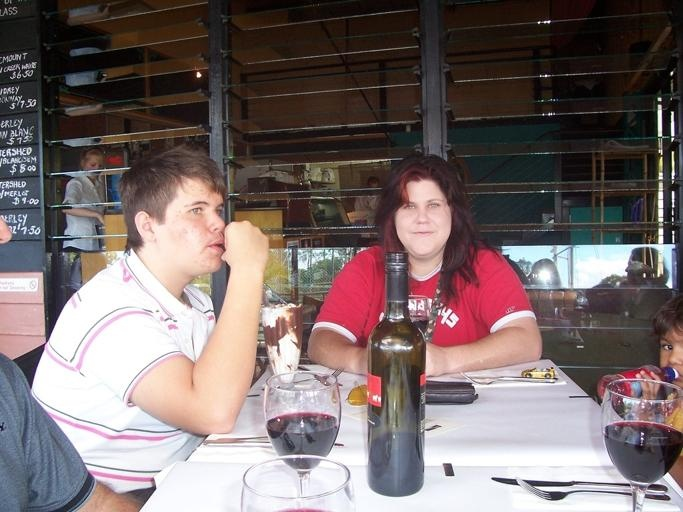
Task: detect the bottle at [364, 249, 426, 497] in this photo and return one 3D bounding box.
[{"bbox_3d":[0.113,0.241,1.203,0.118,0.494,0.089,0,1,8],"label":"bottle"}]

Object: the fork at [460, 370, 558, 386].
[{"bbox_3d":[0.523,0.364,1.699,0.176,0.024,0.094,-4,-2,7],"label":"fork"}]

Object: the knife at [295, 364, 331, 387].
[{"bbox_3d":[-0.075,0.308,1.479,0.093,0.021,0.063,23,-15,-20],"label":"knife"}]

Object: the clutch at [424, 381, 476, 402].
[{"bbox_3d":[0.287,0.366,1.538,0.131,0.033,0.127,0,2,3],"label":"clutch"}]

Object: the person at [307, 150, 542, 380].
[{"bbox_3d":[0.325,0.300,2.250,0.847,1.273,0.681,-3,1,3],"label":"person"}]
